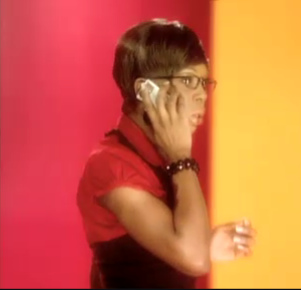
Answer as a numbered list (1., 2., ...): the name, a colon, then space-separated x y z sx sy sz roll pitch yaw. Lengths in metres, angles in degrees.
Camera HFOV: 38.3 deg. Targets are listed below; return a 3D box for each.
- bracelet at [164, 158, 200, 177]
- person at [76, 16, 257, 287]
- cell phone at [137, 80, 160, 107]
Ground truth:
1. bracelet: 0.095 0.072 1.385 0.114 0.057 0.090 -5 3 6
2. person: 0.091 0.030 2.026 0.787 1.503 0.796 -4 1 -9
3. cell phone: -0.004 -0.172 1.416 0.071 0.071 0.019 38 18 18
